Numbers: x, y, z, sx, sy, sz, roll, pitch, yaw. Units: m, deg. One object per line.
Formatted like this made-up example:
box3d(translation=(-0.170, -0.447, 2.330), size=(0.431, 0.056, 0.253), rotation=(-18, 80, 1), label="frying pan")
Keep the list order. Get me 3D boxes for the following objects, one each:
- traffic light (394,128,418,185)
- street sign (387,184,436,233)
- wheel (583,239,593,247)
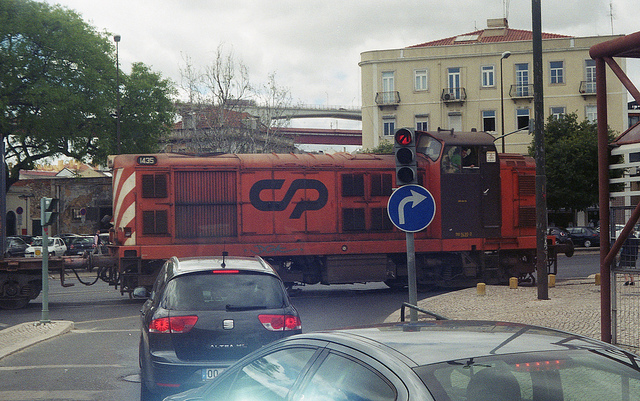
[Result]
box3d(translation=(3.615, -1.743, 41.863), size=(0.888, 2.245, 0.849), rotation=(-6, -5, 26), label="traffic light")
box3d(translation=(3.794, 0.333, 42.693), size=(2.401, 2.382, 0.250), rotation=(1, 2, 2), label="street sign")
box3d(translation=(18.677, 2.945, 71.364), size=(0.567, 0.545, 0.182), rotation=(0, -2, 0), label="wheel")
